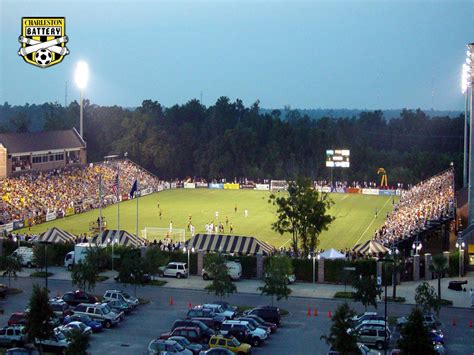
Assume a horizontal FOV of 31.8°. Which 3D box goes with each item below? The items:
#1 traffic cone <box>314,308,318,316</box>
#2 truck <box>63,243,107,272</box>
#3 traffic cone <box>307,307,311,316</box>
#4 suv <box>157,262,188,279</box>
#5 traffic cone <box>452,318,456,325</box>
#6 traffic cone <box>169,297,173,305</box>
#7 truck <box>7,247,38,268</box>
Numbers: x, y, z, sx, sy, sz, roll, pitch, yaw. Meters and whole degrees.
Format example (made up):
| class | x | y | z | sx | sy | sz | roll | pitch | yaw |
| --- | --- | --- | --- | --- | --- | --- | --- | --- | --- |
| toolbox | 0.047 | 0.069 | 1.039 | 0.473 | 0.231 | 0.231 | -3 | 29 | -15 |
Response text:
| class | x | y | z | sx | sy | sz | roll | pitch | yaw |
| --- | --- | --- | --- | --- | --- | --- | --- | --- | --- |
| traffic cone | 8.349 | 14.126 | 87.778 | 0.369 | 0.642 | 0.446 | -1 | -1 | 1 |
| truck | -18.951 | 9.399 | 99.886 | 4.856 | 3.252 | 2.920 | 1 | 2 | 8 |
| traffic cone | 7.651 | 14.026 | 87.925 | 0.407 | 0.852 | 0.448 | -3 | 11 | -2 |
| suv | -7.673 | 11.094 | 100.122 | 2.759 | 1.671 | 1.892 | 4 | 0 | 7 |
| traffic cone | 22.352 | 14.681 | 85.478 | 0.369 | 0.679 | 1.149 | 0 | -6 | 15 |
| traffic cone | -7.209 | 13.427 | 90.606 | 0.455 | 0.714 | 0.499 | -2 | -1 | 18 |
| truck | -26.021 | 9.865 | 101.867 | 3.296 | 2.202 | 2.209 | 6 | 5 | 13 |
